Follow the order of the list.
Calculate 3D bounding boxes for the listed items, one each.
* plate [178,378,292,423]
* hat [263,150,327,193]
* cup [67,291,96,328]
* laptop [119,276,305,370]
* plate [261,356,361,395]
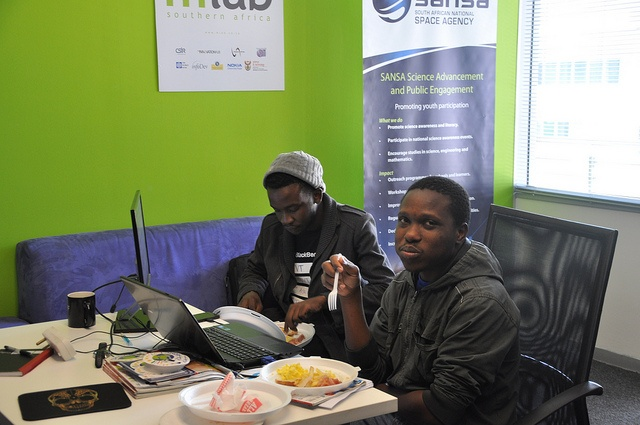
[{"bbox_3d":[-0.248,0.550,1.319,0.322,0.094,0.175,-3,9,0],"label":"plate"},{"bbox_3d":[-0.146,-0.220,2.549,0.257,0.233,0.261,3,11,31],"label":"hat"},{"bbox_3d":[-1.051,0.427,2.012,0.099,0.117,0.160,0,7,-26],"label":"cup"},{"bbox_3d":[-0.369,0.429,1.686,0.425,0.281,0.437,-11,15,-37],"label":"laptop"},{"bbox_3d":[-0.027,0.525,1.475,0.151,0.019,0.149,-2,4,-44],"label":"plate"}]
